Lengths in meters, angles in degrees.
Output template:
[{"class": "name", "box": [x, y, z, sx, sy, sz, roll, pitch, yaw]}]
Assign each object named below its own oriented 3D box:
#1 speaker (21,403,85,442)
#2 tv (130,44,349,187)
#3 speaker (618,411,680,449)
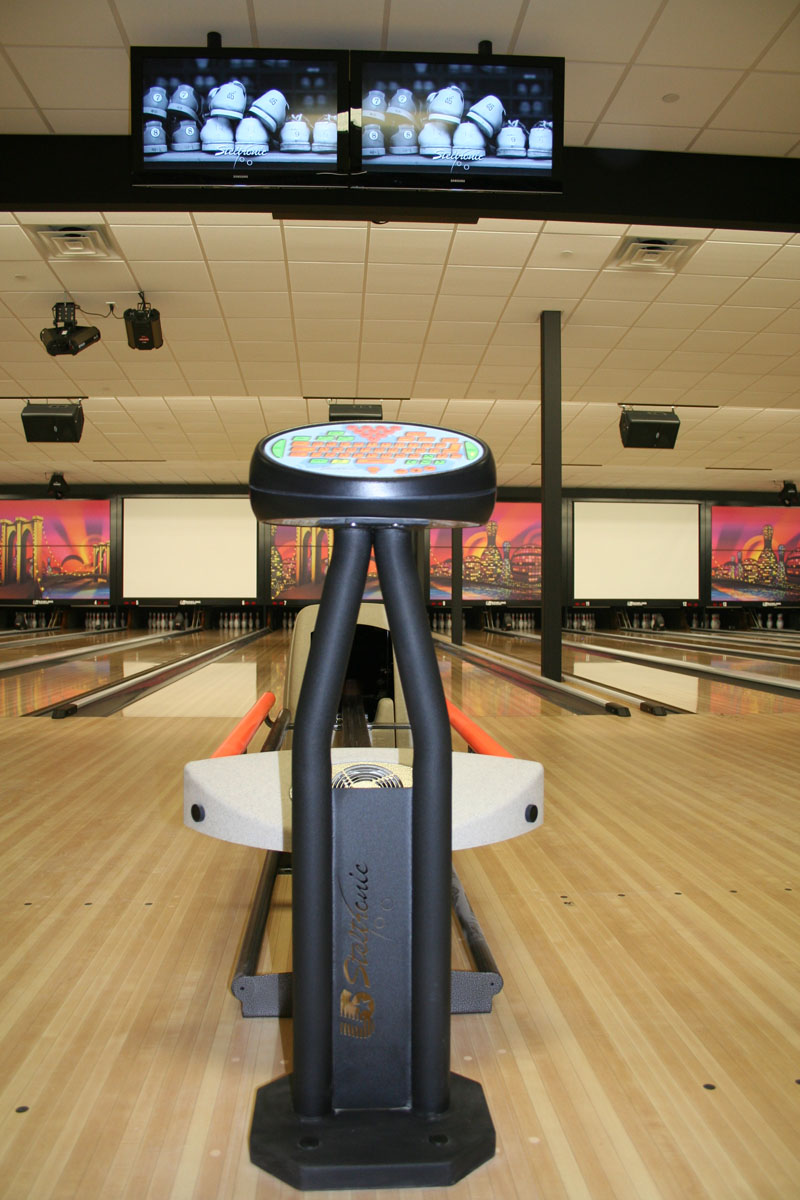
[{"class": "speaker", "box": [-3.280, -1.652, 7.818, 0.678, 0.381, 0.470, -2, 4, 6]}, {"class": "tv", "box": [-0.503, -1.500, 2.524, 0.675, 0.422, 0.159, -1, 0, -4]}, {"class": "speaker", "box": [2.316, -1.580, 7.628, 0.543, 0.375, 0.388, 2, -19, -3]}]
